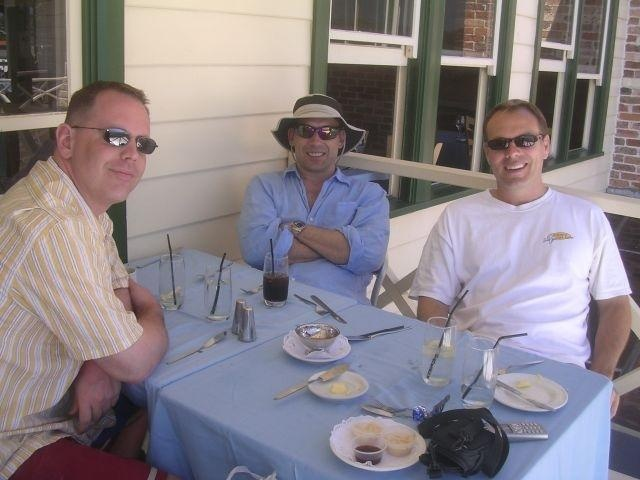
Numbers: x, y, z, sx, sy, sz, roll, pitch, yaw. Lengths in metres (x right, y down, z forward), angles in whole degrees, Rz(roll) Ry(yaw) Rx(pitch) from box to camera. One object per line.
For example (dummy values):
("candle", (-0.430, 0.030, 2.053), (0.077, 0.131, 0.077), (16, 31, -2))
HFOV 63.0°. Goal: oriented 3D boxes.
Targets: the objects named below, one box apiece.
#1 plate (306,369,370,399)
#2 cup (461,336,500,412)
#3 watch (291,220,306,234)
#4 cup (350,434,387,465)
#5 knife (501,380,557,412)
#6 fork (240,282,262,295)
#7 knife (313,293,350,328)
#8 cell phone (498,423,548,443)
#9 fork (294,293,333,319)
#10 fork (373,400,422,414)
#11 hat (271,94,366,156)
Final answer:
("plate", (0.056, 0.418, 1.463), (0.166, 0.024, 0.117), (-7, 19, -22))
("cup", (0.432, 0.359, 1.426), (0.085, 0.176, 0.132), (5, 18, 17))
("watch", (-0.110, -0.066, 2.606), (0.052, 0.065, 0.056), (32, 56, 20))
("cup", (0.112, 0.489, 1.224), (0.058, 0.031, 0.060), (-1, 16, 0))
("knife", (0.561, 0.429, 1.452), (0.036, 0.011, 0.256), (-2, 13, -15))
("fork", (-0.279, 0.200, 2.130), (0.028, 0.027, 0.148), (12, 7, 27))
("knife", (0.036, 0.247, 1.927), (0.043, 0.007, 0.304), (-20, 21, -15))
("cell phone", (0.509, 0.480, 1.311), (0.106, 0.019, 0.057), (4, 30, -16))
("fork", (-0.014, 0.236, 1.981), (0.050, 0.017, 0.214), (-11, 17, -23))
("fork", (0.204, 0.438, 1.389), (0.139, 0.012, 0.043), (0, 9, 40))
("hat", (-0.035, -0.652, 2.975), (0.402, 0.203, 0.529), (3, -19, 4))
